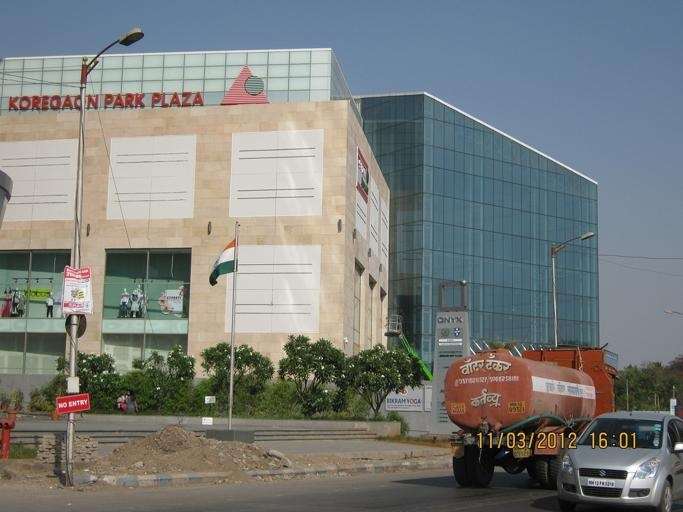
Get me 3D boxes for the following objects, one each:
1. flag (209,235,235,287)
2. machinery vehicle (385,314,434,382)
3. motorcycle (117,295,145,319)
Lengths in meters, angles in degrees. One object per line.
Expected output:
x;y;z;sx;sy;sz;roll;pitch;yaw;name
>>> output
-6.919;0.241;63.377;0.760;2.191;2.447;17;24;28;flag
5.386;6.968;84.864;0.946;2.127;5.797;-25;-58;33;machinery vehicle
-14.519;3.514;76.754;1.549;1.542;0.397;2;-16;2;motorcycle
